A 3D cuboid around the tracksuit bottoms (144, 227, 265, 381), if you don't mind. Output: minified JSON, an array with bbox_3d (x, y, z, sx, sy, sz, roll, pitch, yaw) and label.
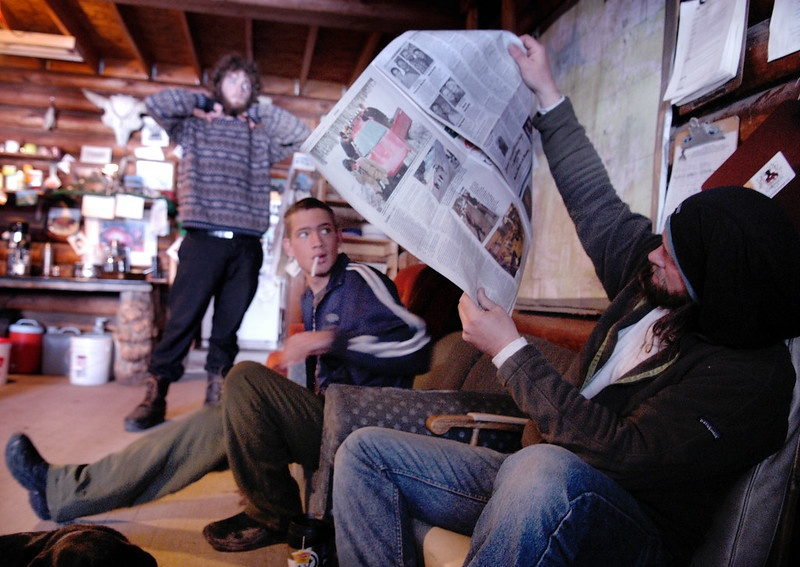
[{"bbox_3d":[-1.002,0.102,3.073,0.450,0.920,0.304,6,25,-30],"label":"tracksuit bottoms"}]

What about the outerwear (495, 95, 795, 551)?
[{"bbox_3d":[0.663,0.033,1.593,0.681,1.257,0.454,1,-5,22],"label":"outerwear"}]

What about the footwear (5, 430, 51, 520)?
[{"bbox_3d":[-1.236,0.648,1.923,0.112,0.264,0.090,-22,5,30],"label":"footwear"}]

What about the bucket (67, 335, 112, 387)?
[{"bbox_3d":[-2.033,0.503,3.821,0.304,0.342,0.305,2,-1,0],"label":"bucket"}]

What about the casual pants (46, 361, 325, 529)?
[{"bbox_3d":[-0.682,0.516,1.907,0.851,0.544,0.198,3,-4,3],"label":"casual pants"}]

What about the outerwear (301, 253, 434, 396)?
[{"bbox_3d":[-0.154,0.178,2.200,0.388,0.520,0.664,-4,-12,-24],"label":"outerwear"}]

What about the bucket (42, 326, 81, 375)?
[{"bbox_3d":[-2.333,0.477,3.990,0.286,0.391,0.213,3,-5,-20],"label":"bucket"}]

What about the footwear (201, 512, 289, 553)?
[{"bbox_3d":[-0.519,0.804,1.881,0.219,0.081,0.127,7,3,-17],"label":"footwear"}]
